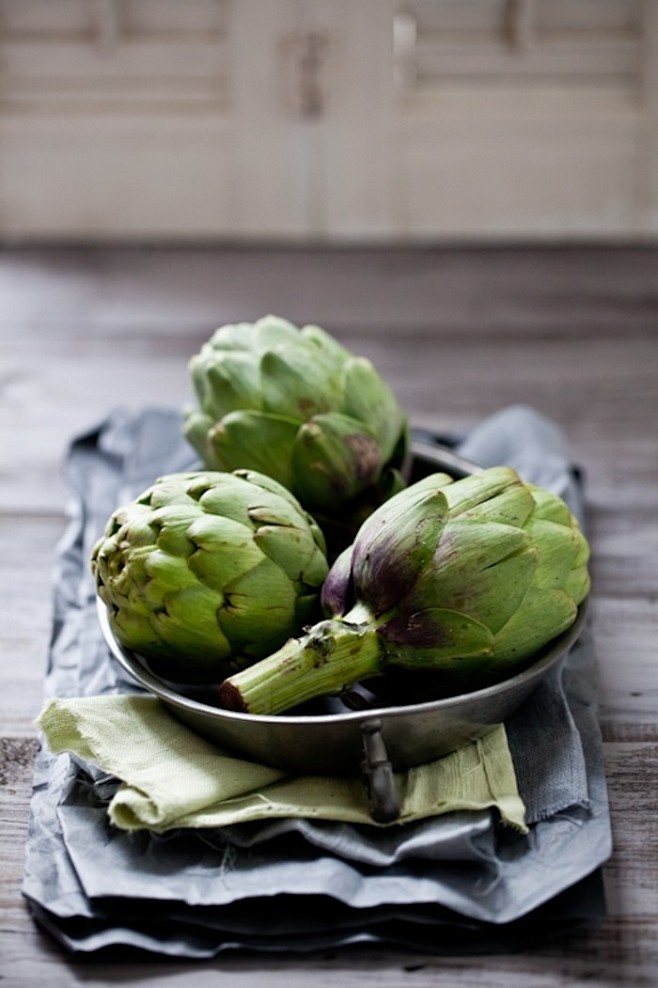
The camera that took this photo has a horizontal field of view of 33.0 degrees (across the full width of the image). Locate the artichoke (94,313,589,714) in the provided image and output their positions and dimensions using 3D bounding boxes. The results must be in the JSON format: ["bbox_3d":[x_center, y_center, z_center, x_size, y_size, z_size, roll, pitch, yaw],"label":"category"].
[{"bbox_3d":[-0.031,0.021,0.667,0.312,0.191,0.143,12,-23,10],"label":"artichoke"}]

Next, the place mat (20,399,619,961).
[{"bbox_3d":[-0.007,0.132,0.685,0.325,0.035,0.394,-1,23,-8],"label":"place mat"}]

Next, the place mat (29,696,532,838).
[{"bbox_3d":[-0.024,0.146,0.575,0.164,0.019,0.100,4,14,-5],"label":"place mat"}]
